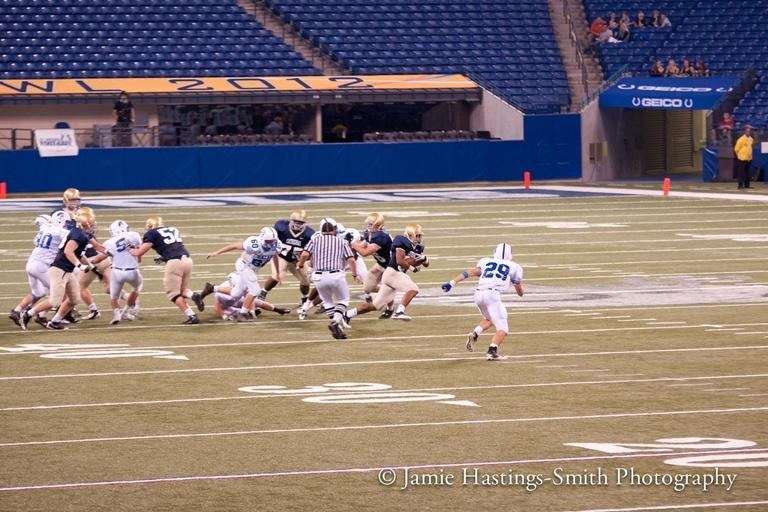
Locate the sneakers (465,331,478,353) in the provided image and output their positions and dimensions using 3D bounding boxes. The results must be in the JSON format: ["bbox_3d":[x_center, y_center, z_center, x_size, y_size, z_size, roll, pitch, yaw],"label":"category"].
[{"bbox_3d":[1.488,1.466,26.124,0.178,0.366,0.185,4,22,-22],"label":"sneakers"}]

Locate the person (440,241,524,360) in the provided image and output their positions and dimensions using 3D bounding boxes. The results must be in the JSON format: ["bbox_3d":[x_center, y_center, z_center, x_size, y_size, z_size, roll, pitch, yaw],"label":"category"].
[{"bbox_3d":[1.833,0.761,26.536,1.002,1.954,1.210,1,1,9],"label":"person"}]

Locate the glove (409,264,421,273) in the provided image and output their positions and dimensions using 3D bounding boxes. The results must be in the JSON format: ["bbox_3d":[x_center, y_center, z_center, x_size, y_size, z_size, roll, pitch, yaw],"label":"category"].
[{"bbox_3d":[0.540,0.221,28.938,0.169,0.082,0.198,-1,-4,8],"label":"glove"}]

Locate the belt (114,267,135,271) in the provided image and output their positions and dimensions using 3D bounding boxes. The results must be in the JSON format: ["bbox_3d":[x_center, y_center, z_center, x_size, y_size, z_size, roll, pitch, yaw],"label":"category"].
[{"bbox_3d":[-4.812,0.232,28.431,0.397,0.043,0.098,0,1,-7],"label":"belt"}]

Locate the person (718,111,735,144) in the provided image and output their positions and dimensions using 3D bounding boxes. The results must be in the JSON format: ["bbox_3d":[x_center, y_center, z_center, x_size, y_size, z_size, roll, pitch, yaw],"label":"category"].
[{"bbox_3d":[11.154,-4.206,50.430,0.515,0.999,0.514,1,1,20],"label":"person"}]

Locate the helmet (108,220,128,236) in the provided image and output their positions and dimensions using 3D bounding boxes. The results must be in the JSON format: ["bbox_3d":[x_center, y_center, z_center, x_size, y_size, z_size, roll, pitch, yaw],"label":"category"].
[{"bbox_3d":[-4.905,-0.516,28.455,0.296,0.264,0.438,0,1,-12],"label":"helmet"}]

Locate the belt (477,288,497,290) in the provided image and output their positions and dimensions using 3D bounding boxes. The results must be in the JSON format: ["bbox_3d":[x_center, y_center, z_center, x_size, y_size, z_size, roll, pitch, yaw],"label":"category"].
[{"bbox_3d":[1.685,0.559,26.159,0.366,0.047,0.110,1,1,30],"label":"belt"}]

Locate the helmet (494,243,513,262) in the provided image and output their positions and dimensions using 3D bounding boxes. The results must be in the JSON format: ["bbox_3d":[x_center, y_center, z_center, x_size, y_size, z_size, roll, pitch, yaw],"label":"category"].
[{"bbox_3d":[2.109,-0.066,26.518,0.441,0.277,0.285,-3,7,-4],"label":"helmet"}]

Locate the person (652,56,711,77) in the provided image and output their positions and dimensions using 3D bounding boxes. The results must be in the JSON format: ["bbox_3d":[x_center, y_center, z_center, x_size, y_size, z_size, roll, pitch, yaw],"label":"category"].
[{"bbox_3d":[9.883,-6.305,51.946,1.454,0.434,1.369,2,4,31],"label":"person"}]

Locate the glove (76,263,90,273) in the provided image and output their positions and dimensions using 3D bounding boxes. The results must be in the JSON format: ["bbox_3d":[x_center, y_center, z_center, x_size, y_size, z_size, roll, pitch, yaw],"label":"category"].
[{"bbox_3d":[-5.504,0.204,28.120,0.243,0.096,0.276,0,3,-13],"label":"glove"}]

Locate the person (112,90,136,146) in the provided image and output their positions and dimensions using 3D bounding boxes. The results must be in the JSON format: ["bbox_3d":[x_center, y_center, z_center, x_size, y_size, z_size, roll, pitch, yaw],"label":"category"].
[{"bbox_3d":[-8.243,-4.342,48.523,0.593,1.743,0.504,1,1,-6],"label":"person"}]

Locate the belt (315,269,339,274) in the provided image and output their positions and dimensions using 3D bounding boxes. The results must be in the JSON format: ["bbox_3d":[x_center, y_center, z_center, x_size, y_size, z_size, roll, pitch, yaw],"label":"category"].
[{"bbox_3d":[-1.030,0.272,27.467,0.406,0.057,0.087,0,1,-12],"label":"belt"}]

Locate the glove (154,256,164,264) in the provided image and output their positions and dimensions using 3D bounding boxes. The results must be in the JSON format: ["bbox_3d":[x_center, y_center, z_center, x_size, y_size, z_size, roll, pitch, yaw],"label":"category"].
[{"bbox_3d":[-4.305,0.071,29.348,0.225,0.094,0.389,-11,3,-15],"label":"glove"}]
